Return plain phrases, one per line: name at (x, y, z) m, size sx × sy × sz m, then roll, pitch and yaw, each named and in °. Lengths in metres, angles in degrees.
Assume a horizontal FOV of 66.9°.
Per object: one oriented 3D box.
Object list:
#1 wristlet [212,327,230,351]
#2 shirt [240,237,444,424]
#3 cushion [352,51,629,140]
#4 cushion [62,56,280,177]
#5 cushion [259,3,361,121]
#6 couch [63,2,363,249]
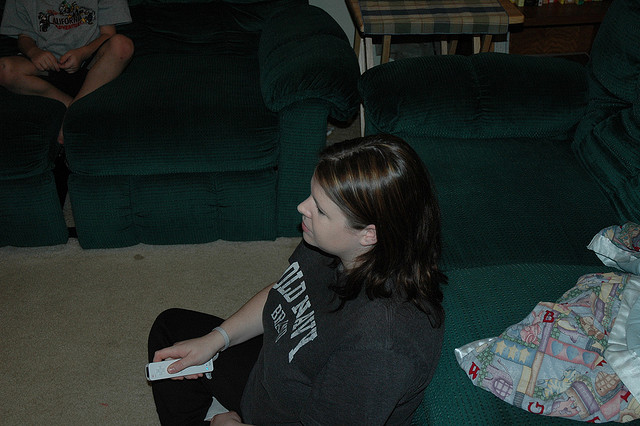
wristlet at (-0.334, 0.431, 1.650) m, size 0.051 × 0.091 × 0.026 m, roll 22°, pitch 36°, yaw 38°
shirt at (0.028, 0.419, 1.381) m, size 0.542 × 0.537 × 0.314 m, roll 19°, pitch 34°, yaw 35°
cushion at (0.736, -0.550, 2.277) m, size 1.203 × 0.445 × 0.424 m, roll -2°, pitch 5°, yaw 14°
cushion at (-0.707, -0.480, 2.436) m, size 1.013 × 0.427 × 0.513 m, roll -3°, pitch 27°, yaw -3°
cushion at (-0.059, -0.779, 2.494) m, size 0.440 × 0.247 × 0.664 m, roll -2°, pitch 50°, yaw -4°
couch at (-0.609, -0.583, 3.077) m, size 1.804 × 1.296 × 1.398 m, roll -1°, pitch 33°, yaw -7°
